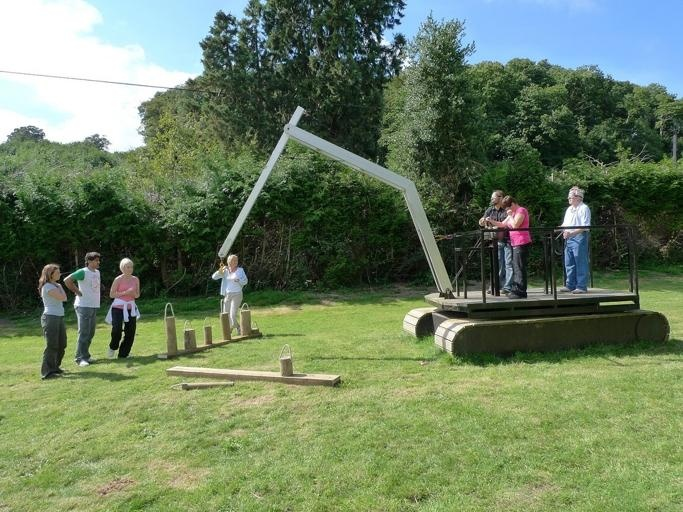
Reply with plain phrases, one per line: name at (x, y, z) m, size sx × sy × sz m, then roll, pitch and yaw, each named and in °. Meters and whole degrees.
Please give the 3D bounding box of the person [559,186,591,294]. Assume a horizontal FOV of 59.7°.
person at (4.577, -0.239, 11.589) m, size 0.535 × 2.139 × 1.254 m, roll 3°, pitch 15°, yaw 20°

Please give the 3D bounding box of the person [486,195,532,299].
person at (3.218, -0.139, 11.335) m, size 0.696 × 1.844 × 1.079 m, roll 1°, pitch 15°, yaw 15°

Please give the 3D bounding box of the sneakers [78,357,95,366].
sneakers at (-4.801, 1.981, 11.165) m, size 0.260 × 0.089 × 0.315 m, roll -3°, pitch 15°, yaw -1°

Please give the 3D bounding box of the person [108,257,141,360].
person at (-4.345, 1.013, 11.774) m, size 0.716 × 1.929 × 1.006 m, roll -8°, pitch 15°, yaw -20°

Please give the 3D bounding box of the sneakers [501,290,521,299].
sneakers at (3.183, 0.738, 11.236) m, size 0.267 × 0.120 × 0.102 m, roll -2°, pitch -2°, yaw 38°

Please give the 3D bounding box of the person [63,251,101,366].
person at (-4.864, 1.004, 11.374) m, size 0.676 × 2.108 × 1.155 m, roll -8°, pitch 16°, yaw -22°

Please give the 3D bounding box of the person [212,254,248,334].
person at (-2.502, 0.897, 13.578) m, size 0.710 × 1.831 × 1.487 m, roll -5°, pitch 15°, yaw -11°
